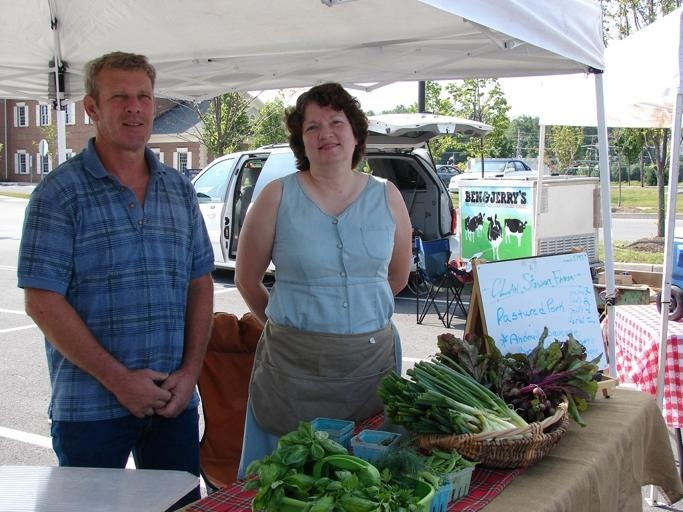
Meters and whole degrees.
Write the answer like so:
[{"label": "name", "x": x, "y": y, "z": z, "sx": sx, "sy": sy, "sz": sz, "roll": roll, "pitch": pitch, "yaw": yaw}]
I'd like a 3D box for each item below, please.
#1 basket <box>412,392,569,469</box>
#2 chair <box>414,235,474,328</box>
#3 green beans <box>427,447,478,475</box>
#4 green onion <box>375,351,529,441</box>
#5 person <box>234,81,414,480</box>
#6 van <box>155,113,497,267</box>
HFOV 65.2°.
[{"label": "basket", "x": 0.591, "y": 0.671, "z": 1.908, "sx": 0.657, "sy": 0.204, "sz": 0.170, "roll": -5, "pitch": 4, "yaw": -24}, {"label": "chair", "x": 1.477, "y": 0.289, "z": 7.961, "sx": 0.739, "sy": 1.215, "sz": 2.006, "roll": -2, "pitch": 4, "yaw": 11}, {"label": "green beans", "x": 0.347, "y": 0.669, "z": 1.734, "sx": 0.107, "sy": 0.035, "sz": 0.104, "roll": 7, "pitch": 26, "yaw": -10}, {"label": "green onion", "x": 0.408, "y": 0.487, "z": 1.899, "sx": 0.431, "sy": 0.208, "sz": 0.263, "roll": 3, "pitch": -3, "yaw": -9}, {"label": "person", "x": -0.060, "y": 0.331, "z": 2.568, "sx": 0.869, "sy": 2.180, "sz": 0.655, "roll": -1, "pitch": 2, "yaw": -13}, {"label": "van", "x": -0.346, "y": -1.179, "z": 9.359, "sx": 5.398, "sy": 2.890, "sz": 2.314, "roll": 7, "pitch": 7, "yaw": 28}]
